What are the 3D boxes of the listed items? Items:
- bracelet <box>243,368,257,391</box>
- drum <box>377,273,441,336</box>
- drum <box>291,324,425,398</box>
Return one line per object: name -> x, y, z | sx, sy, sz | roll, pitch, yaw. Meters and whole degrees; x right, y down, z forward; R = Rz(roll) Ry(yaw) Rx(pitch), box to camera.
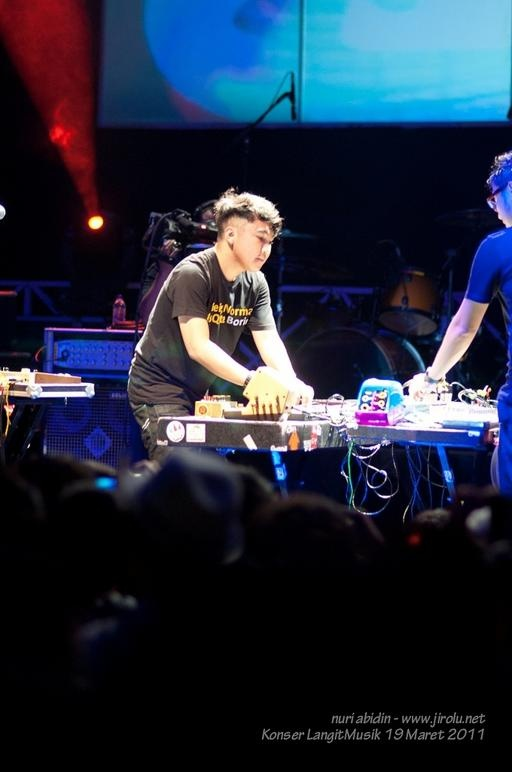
bracelet -> -0.020, -0.017, 1.944 | 0.045, 0.034, 0.043 | 2, 33, -50
drum -> 1.120, -0.608, 5.074 | 0.415, 0.383, 0.397 | 23, 10, -12
drum -> 0.735, -0.203, 5.055 | 0.653, 0.649, 0.603 | -2, 17, 27
